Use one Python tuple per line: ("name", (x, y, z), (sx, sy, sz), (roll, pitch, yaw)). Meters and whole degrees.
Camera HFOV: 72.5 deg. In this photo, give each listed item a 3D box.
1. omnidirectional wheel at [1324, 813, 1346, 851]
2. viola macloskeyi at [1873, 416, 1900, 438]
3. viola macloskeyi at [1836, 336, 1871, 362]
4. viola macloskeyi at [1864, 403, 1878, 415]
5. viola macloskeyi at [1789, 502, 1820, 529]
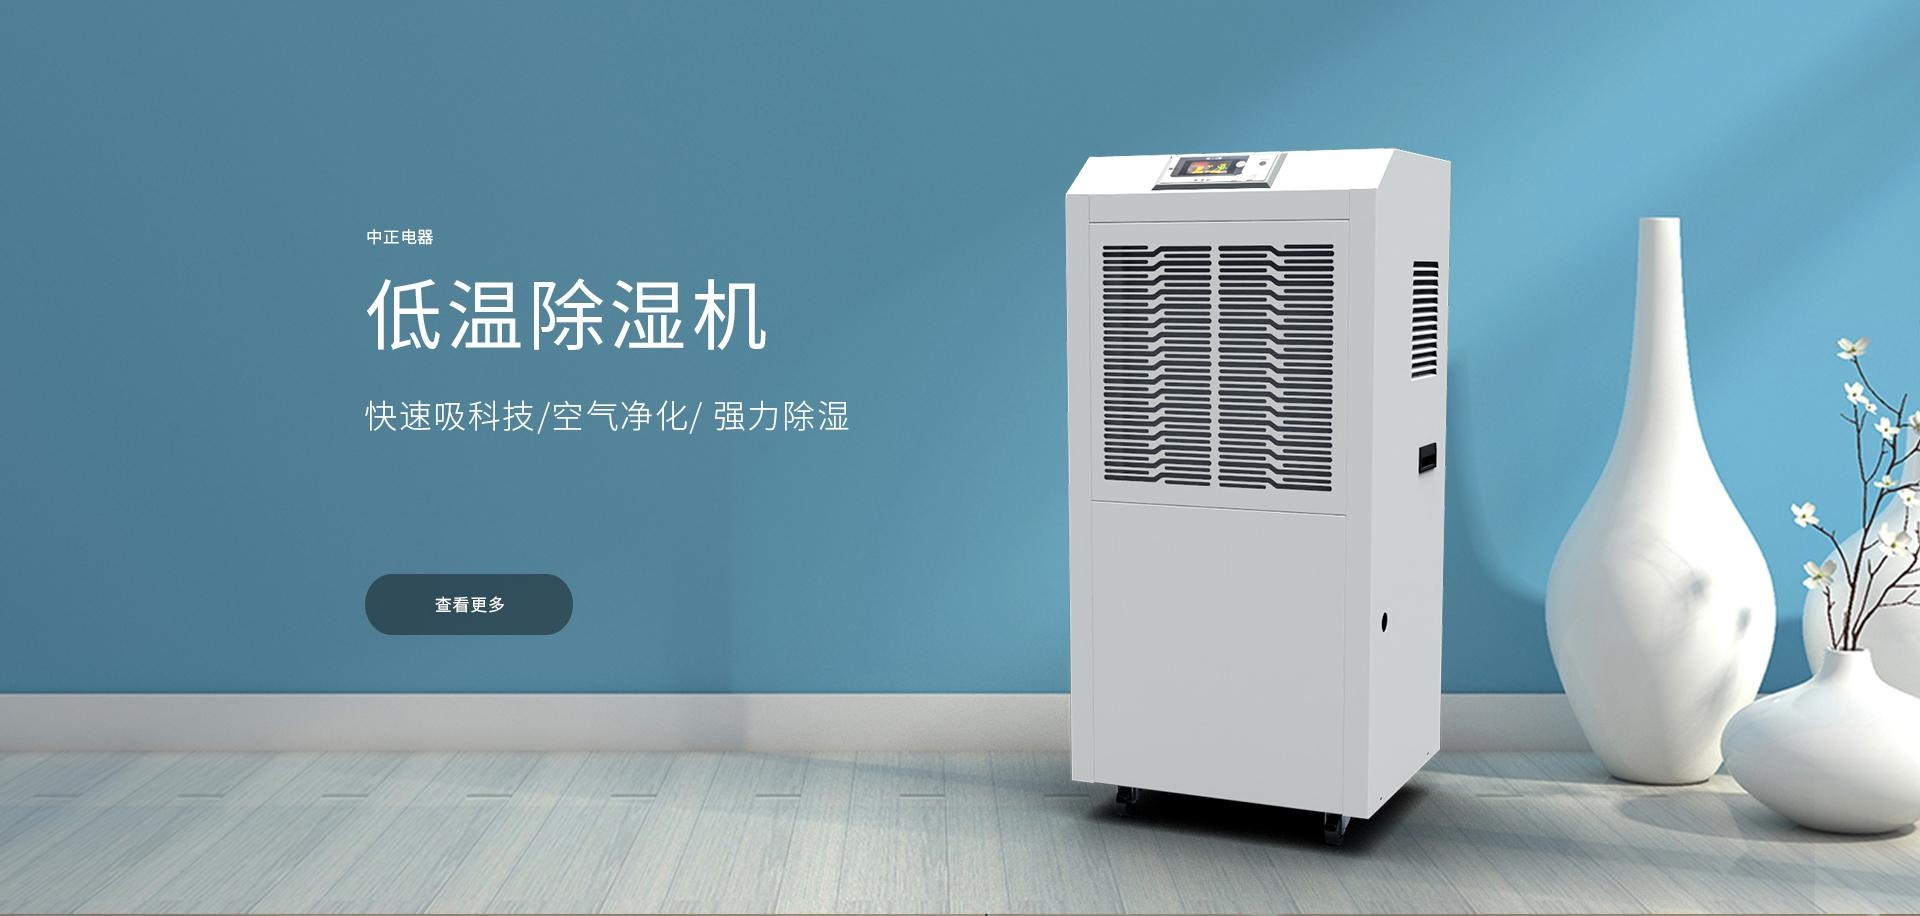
("omnidirectional wheel", (1.425, 1.424, 4.990), (0.053, 0.058, 0.195), (-1, -1, 21))
("viola macloskeyi", (3.746, -0.120, 5.309), (0.085, 0.073, 0.039), (6, -33, -36))
("viola macloskeyi", (3.595, -0.443, 5.284), (0.102, 0.032, 0.096), (-29, 18, -24))
("viola macloskeyi", (3.771, -0.202, 5.434), (0.050, 0.049, 0.025), (35, -19, -28))
("viola macloskeyi", (3.451, 0.234, 5.353), (0.125, 0.107, 0.042), (24, 4, -1))
